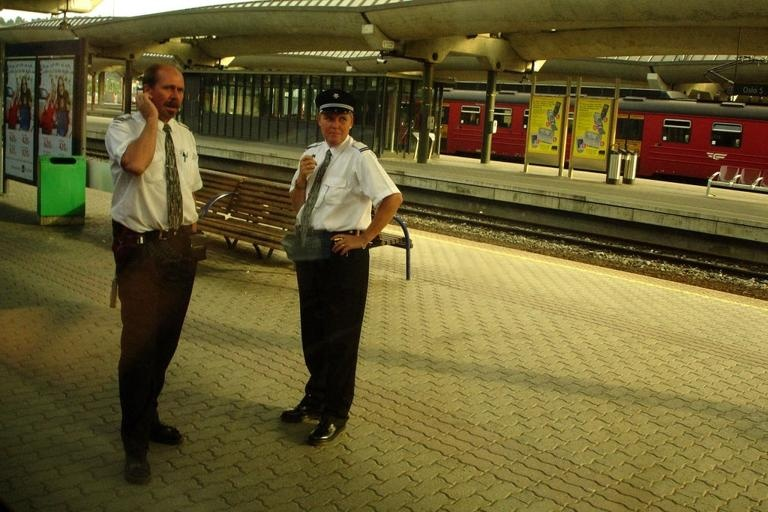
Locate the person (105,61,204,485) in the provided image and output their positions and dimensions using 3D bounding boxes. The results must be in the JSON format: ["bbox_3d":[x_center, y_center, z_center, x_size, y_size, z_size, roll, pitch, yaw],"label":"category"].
[{"bbox_3d":[-1.527,0.072,3.710,0.598,2.783,1.086,-1,17,-19],"label":"person"}]

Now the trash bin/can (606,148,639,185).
[{"bbox_3d":[8.565,-3.251,19.496,0.757,1.240,1.483,18,20,41],"label":"trash bin/can"}]

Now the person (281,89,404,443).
[{"bbox_3d":[-0.349,0.076,4.184,0.765,2.691,0.818,-1,17,-20],"label":"person"}]

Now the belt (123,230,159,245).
[{"bbox_3d":[-1.602,-0.126,3.626,0.195,0.088,0.047,-2,17,-22],"label":"belt"}]

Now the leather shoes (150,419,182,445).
[{"bbox_3d":[-1.669,1.315,4.039,0.387,0.104,0.119,3,9,24],"label":"leather shoes"}]

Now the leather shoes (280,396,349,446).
[{"bbox_3d":[-0.543,1.328,4.360,0.261,0.209,0.658,-2,3,-40],"label":"leather shoes"}]

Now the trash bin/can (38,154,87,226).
[{"bbox_3d":[-5.801,-1.205,9.875,0.762,1.257,0.320,-3,18,-24],"label":"trash bin/can"}]

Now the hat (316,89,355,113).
[{"bbox_3d":[-0.354,-1.201,4.137,0.297,0.187,0.300,2,13,-5],"label":"hat"}]

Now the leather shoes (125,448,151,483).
[{"bbox_3d":[-1.604,1.400,3.586,0.166,0.143,0.290,3,-4,-26],"label":"leather shoes"}]
